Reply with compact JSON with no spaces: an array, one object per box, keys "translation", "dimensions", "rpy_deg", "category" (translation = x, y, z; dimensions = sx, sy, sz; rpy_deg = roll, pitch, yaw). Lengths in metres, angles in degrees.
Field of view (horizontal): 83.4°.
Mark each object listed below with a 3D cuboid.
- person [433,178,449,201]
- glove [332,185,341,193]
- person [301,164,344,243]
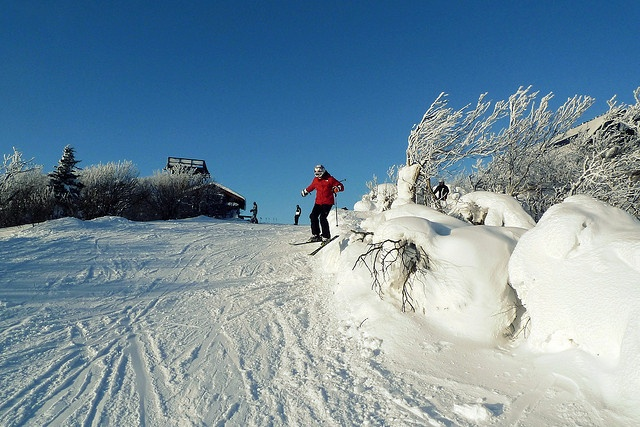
[{"translation":[4.978,-0.930,14.786],"dimensions":[0.572,0.864,1.205],"rpy_deg":[3,0,21],"category":"person"},{"translation":[0.521,-0.787,11.453],"dimensions":[0.198,0.243,0.337],"rpy_deg":[3,0,-42],"category":"glove"},{"translation":[0.022,-0.272,11.663],"dimensions":[0.792,2.492,1.276],"rpy_deg":[3,0,-37],"category":"person"}]
